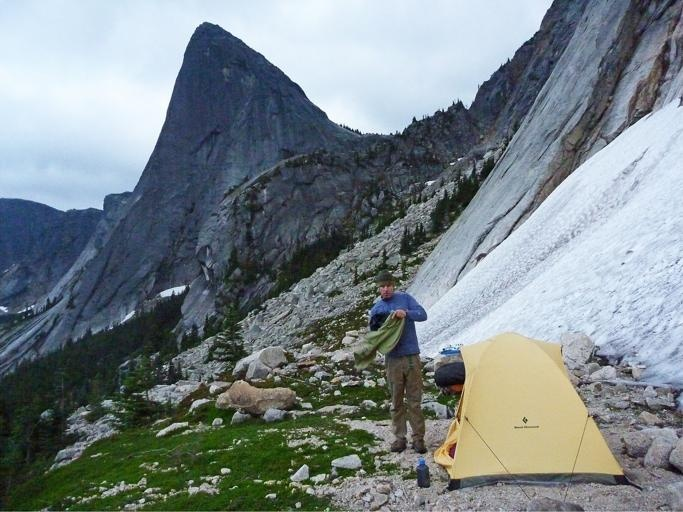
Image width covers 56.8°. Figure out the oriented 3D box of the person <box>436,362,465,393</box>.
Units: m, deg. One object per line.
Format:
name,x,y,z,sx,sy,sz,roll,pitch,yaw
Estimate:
person,4.712,5.388,27.808,1.072,0.807,1.454,-8,-9,-3
